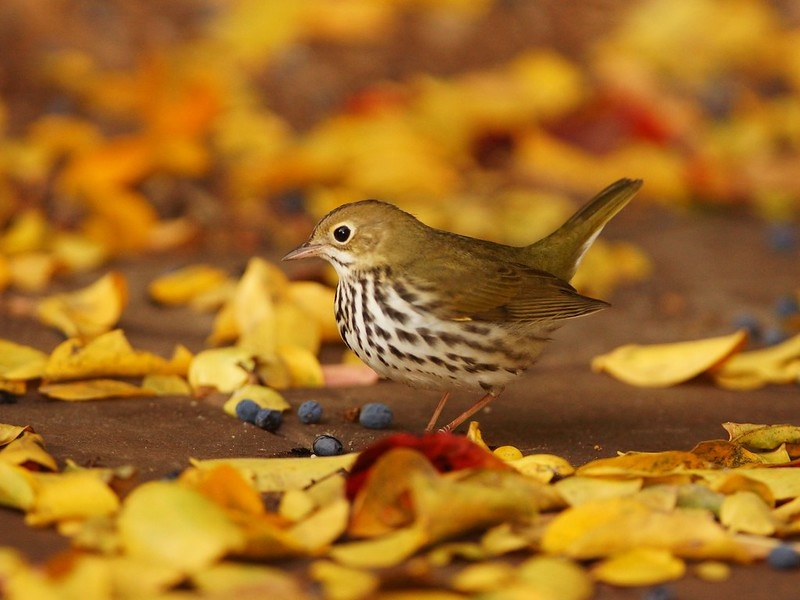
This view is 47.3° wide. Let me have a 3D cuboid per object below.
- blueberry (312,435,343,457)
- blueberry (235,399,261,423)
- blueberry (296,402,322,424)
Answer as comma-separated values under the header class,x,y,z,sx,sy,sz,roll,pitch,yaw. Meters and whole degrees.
class,x,y,z,sx,sy,sz,roll,pitch,yaw
blueberry,-0.224,0.444,2.801,0.096,0.028,0.070,8,15,6
blueberry,-0.496,0.363,2.977,0.084,0.064,0.072,-21,-20,28
blueberry,-0.296,0.370,2.980,0.085,0.054,0.084,-16,-2,5
